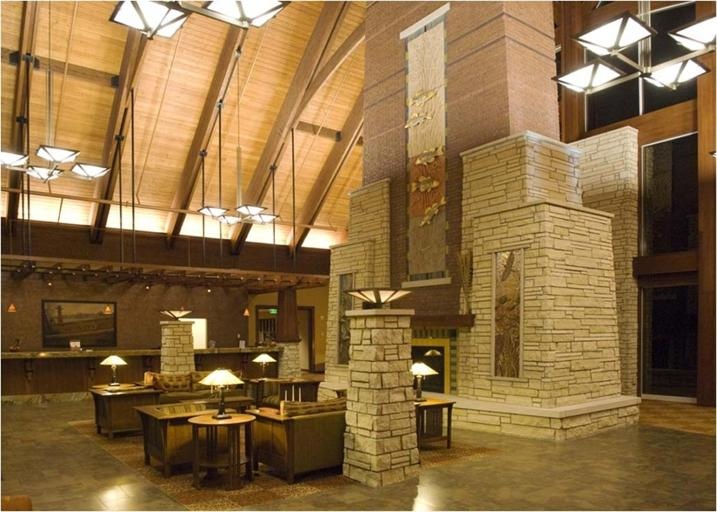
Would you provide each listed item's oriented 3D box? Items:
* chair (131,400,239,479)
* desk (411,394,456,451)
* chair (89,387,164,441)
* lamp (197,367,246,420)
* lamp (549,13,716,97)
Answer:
[{"bbox_3d":[-3.439,3.393,11.260,1.423,0.966,1.285,4,-8,-37],"label":"chair"},{"bbox_3d":[1.480,3.409,11.961,0.924,1.028,0.490,-2,4,-22],"label":"desk"},{"bbox_3d":[-5.383,3.607,13.336,1.456,1.043,1.959,5,-6,-32],"label":"chair"},{"bbox_3d":[-2.547,2.465,10.991,1.187,1.017,1.027,1,-9,-10],"label":"lamp"},{"bbox_3d":[4.936,-3.549,10.404,2.437,0.957,1.554,-1,3,3],"label":"lamp"}]
